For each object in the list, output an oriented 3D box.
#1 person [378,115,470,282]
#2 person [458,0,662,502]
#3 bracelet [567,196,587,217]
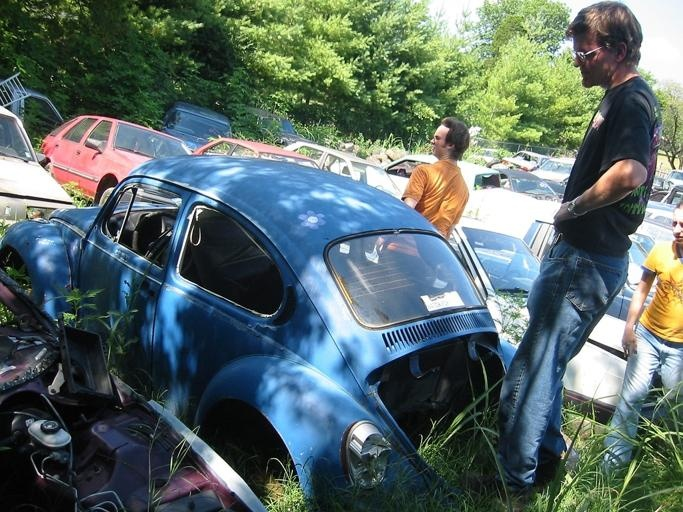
[{"bbox_3d":[1.019,-0.557,5.114,0.730,2.154,0.686,-9,40,-14],"label":"person"},{"bbox_3d":[1.448,0.045,2.838,0.661,3.040,0.814,15,17,22],"label":"person"},{"bbox_3d":[1.426,-0.297,2.786,0.079,0.055,0.085,43,9,-14],"label":"bracelet"}]
